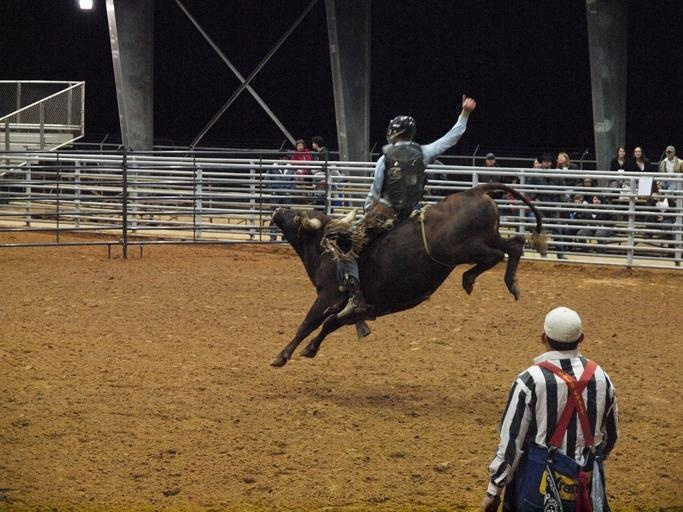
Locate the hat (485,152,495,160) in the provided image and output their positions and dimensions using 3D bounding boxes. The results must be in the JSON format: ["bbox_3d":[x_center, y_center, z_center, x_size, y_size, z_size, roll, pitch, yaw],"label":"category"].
[{"bbox_3d":[3.231,-2.201,22.014,0.244,0.149,0.322,-1,-6,15],"label":"hat"}]

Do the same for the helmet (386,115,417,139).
[{"bbox_3d":[0.791,-1.677,13.170,0.315,0.335,0.381,-7,18,-39],"label":"helmet"}]

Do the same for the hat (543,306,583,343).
[{"bbox_3d":[2.281,0.677,10.453,0.319,0.200,0.414,2,19,12],"label":"hat"}]
